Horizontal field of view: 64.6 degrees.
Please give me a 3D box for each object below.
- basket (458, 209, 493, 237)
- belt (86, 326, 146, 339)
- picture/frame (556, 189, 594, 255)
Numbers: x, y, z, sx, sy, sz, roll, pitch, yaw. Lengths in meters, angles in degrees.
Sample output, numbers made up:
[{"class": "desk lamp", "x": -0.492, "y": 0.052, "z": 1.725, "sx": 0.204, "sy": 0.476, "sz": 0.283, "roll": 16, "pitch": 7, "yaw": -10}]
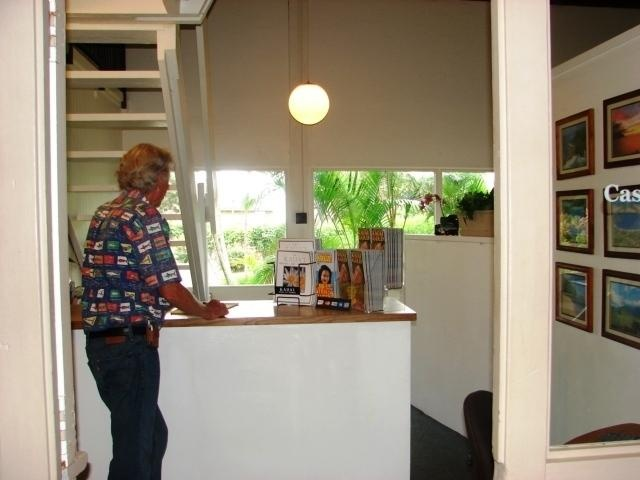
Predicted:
[{"class": "basket", "x": 1.158, "y": -0.124, "z": 3.833, "sx": 0.171, "sy": 0.199, "sz": 0.451, "roll": -4, "pitch": 3, "yaw": -22}, {"class": "belt", "x": -0.846, "y": 0.386, "z": 2.111, "sx": 0.233, "sy": 0.032, "sz": 0.032, "roll": -4, "pitch": 3, "yaw": -10}, {"class": "picture/frame", "x": 0.676, "y": -0.048, "z": 1.352, "sx": 0.097, "sy": 0.167, "sz": 0.014, "roll": -3, "pitch": 3, "yaw": 1}]
